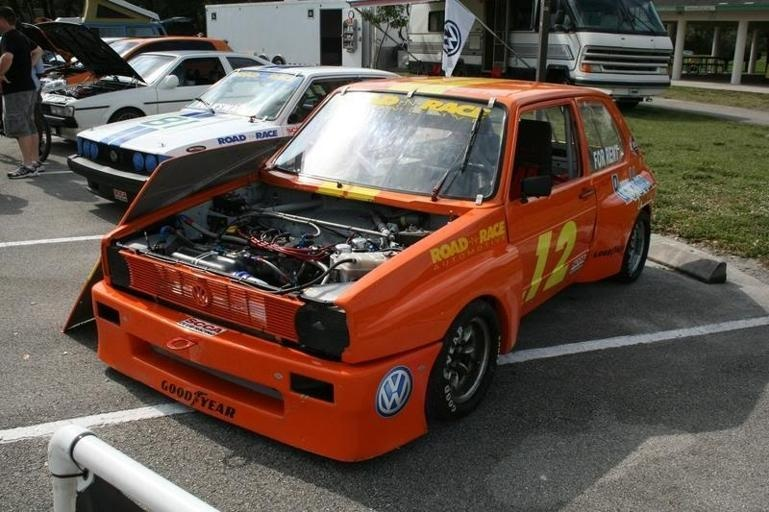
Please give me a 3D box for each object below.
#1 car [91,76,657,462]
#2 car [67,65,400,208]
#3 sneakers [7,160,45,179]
[{"bbox_3d":[0.423,-0.178,4.724,4.393,1.551,2.746,-17,27,-38],"label":"car"},{"bbox_3d":[-1.814,-1.780,8.501,4.767,1.193,2.210,-18,30,-35],"label":"car"},{"bbox_3d":[-6.165,-1.456,9.429,0.715,0.256,0.243,-12,31,-41],"label":"sneakers"}]
